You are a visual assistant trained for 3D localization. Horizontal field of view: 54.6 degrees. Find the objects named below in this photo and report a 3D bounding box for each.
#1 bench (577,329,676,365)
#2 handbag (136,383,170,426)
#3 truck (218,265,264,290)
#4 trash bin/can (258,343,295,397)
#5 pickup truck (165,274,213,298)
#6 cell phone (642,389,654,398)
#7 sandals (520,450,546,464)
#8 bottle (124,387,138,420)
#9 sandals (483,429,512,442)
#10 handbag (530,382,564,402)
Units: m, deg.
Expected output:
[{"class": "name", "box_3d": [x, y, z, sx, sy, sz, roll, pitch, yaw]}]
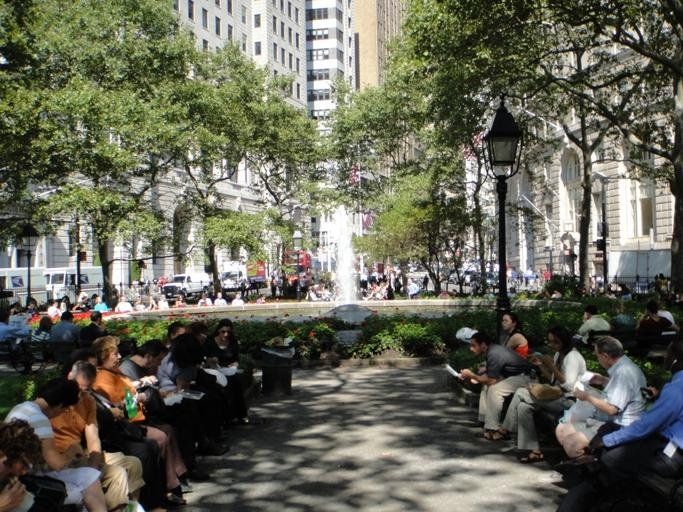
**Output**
[{"class": "bench", "box_3d": [4.491, 1.401, 10.338, 1.303, 0.477, 0.405, -1, 23, -7]}, {"class": "handbag", "box_3d": [-2.322, 1.843, 8.209, 0.301, 0.533, 0.753, -3, -3, 4]}, {"class": "truck", "box_3d": [-8.682, 1.836, 58.938, 2.141, 1.943, 5.335, -3, -5, 13]}, {"class": "trash bin/can", "box_3d": [-1.303, 2.372, 13.891, 0.979, 1.033, 0.907, 0, -4, 4]}, {"class": "pickup truck", "box_3d": [-12.175, 2.172, 50.746, 1.510, 1.129, 2.884, -6, -6, 24]}, {"class": "cell phone", "box_3d": [3.279, 1.464, 7.088, 0.132, 0.113, 0.102, -15, -15, 34]}, {"class": "sandals", "box_3d": [2.536, 2.666, 8.838, 0.347, 0.125, 0.164, 0, 0, 8]}, {"class": "bottle", "box_3d": [-2.424, 1.686, 7.607, 0.133, 0.349, 0.255, -2, -3, -17]}, {"class": "sandals", "box_3d": [2.321, 2.671, 9.903, 0.395, 0.095, 0.163, 2, 19, 9]}, {"class": "handbag", "box_3d": [2.766, 1.837, 8.978, 0.282, 0.108, 0.277, 1, 0, 24]}]
